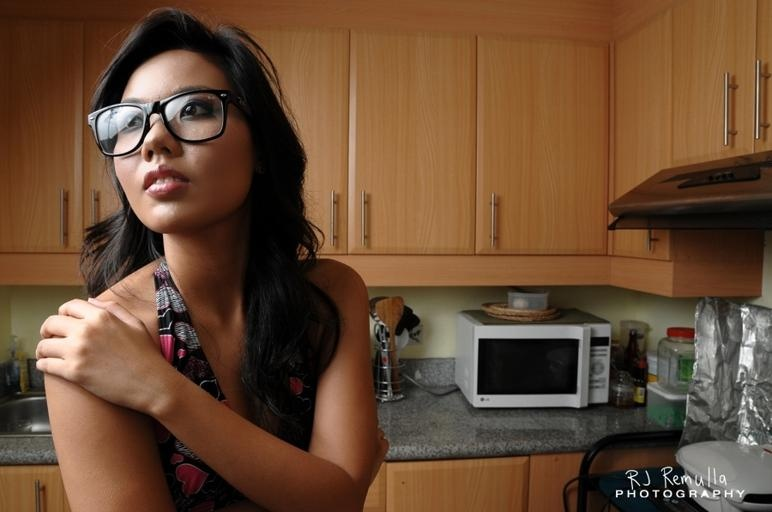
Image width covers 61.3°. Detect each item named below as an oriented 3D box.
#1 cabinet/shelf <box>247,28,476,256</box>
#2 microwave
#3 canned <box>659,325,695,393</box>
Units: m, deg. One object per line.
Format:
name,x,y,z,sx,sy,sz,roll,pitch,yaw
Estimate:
cabinet/shelf,-0.121,-0.514,2.709,1.011,0.940,0.399,0,-3,-5
microwave,0.712,0.485,3.178,0.671,0.388,0.504,0,6,-4
canned,1.423,0.511,3.168,0.175,0.286,0.162,2,3,-17
